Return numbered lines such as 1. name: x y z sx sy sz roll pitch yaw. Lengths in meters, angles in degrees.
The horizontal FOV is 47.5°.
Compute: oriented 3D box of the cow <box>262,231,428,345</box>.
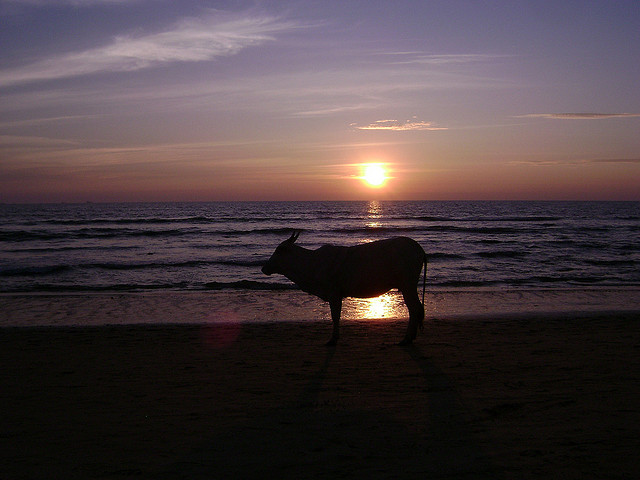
1. cow: 0.702 1.029 15.062 4.726 2.017 1.216 -2 -6 39
